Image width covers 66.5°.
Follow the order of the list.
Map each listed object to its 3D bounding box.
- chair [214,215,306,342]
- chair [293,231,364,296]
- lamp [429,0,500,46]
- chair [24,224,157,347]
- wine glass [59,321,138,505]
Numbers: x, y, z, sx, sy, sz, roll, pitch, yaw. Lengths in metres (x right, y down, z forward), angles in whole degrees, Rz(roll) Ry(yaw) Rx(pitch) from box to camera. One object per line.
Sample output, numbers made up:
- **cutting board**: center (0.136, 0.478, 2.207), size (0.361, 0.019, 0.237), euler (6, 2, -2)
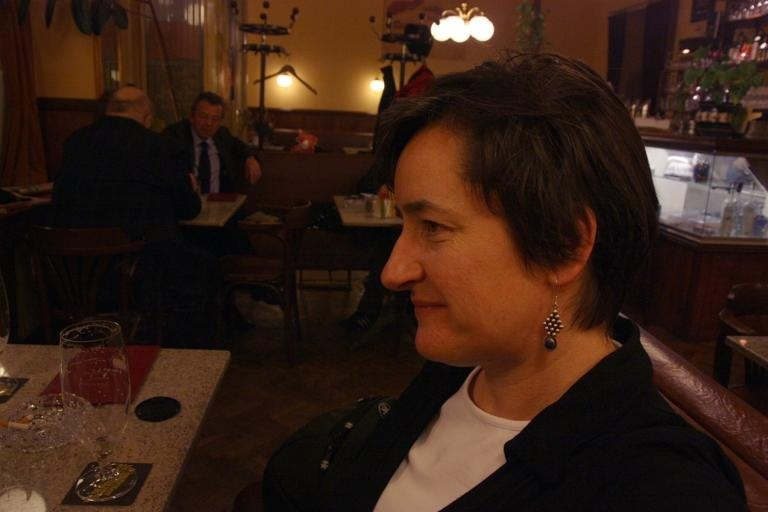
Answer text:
- **chair**: center (-0.840, 0.139, 3.953), size (0.640, 0.848, 0.664), euler (5, 4, 10)
- **chair**: center (-0.517, 0.085, 5.214), size (0.526, 0.345, 0.732), euler (2, -2, -10)
- **lamp**: center (0.799, -2.417, 6.063), size (0.606, 0.363, 0.471), euler (-16, 24, -40)
- **chair**: center (-1.400, 0.111, 2.808), size (0.495, 0.698, 0.519), euler (2, 34, -10)
- **wine glass**: center (-0.684, 0.344, 1.394), size (0.145, 0.339, 0.317), euler (-9, 20, -25)
